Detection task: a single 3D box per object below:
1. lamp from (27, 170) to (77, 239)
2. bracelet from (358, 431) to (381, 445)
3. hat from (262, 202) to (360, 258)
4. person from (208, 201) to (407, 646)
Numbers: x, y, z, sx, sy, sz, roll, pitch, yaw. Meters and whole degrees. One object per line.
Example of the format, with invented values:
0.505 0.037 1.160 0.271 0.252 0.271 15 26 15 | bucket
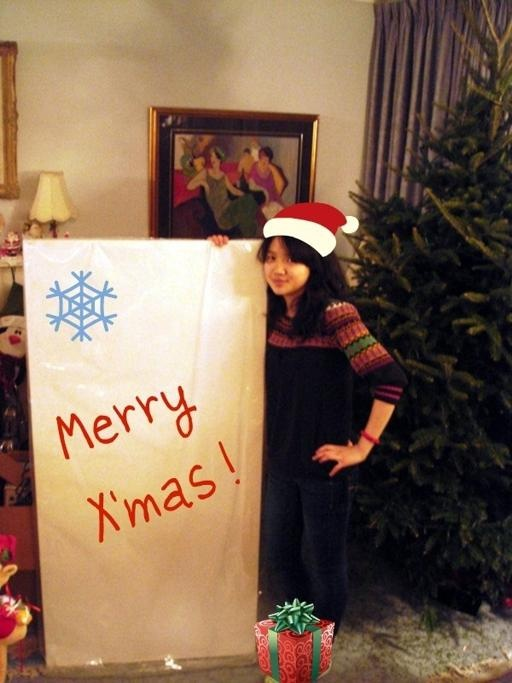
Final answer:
-1.071 -0.717 3.342 0.218 0.340 0.317 -2 13 -19 | lamp
0.316 0.276 1.764 0.045 0.014 0.039 34 0 -28 | bracelet
0.162 -0.317 1.788 0.202 0.141 0.275 9 14 27 | hat
0.189 0.253 1.832 0.435 1.268 0.237 6 13 17 | person
